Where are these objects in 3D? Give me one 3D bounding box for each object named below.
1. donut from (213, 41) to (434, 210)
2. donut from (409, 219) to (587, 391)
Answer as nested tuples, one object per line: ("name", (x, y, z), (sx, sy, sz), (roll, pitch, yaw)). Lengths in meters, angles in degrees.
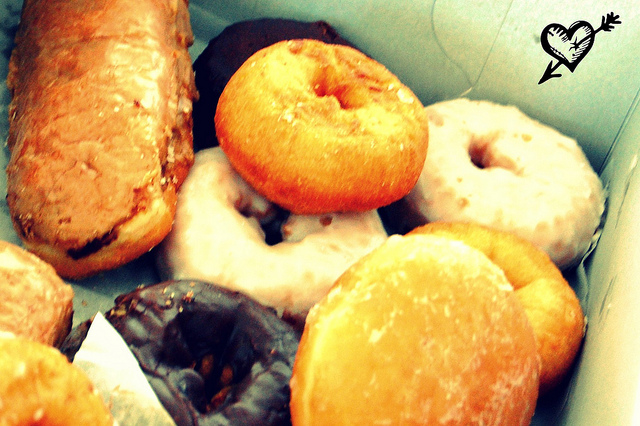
("donut", (0.008, -0.168, 1.480), (0.350, 0.144, 0.367), (8, 42, -26))
("donut", (0.388, 0.166, 1.659), (0.502, 0.187, 0.528), (5, 15, -8))
